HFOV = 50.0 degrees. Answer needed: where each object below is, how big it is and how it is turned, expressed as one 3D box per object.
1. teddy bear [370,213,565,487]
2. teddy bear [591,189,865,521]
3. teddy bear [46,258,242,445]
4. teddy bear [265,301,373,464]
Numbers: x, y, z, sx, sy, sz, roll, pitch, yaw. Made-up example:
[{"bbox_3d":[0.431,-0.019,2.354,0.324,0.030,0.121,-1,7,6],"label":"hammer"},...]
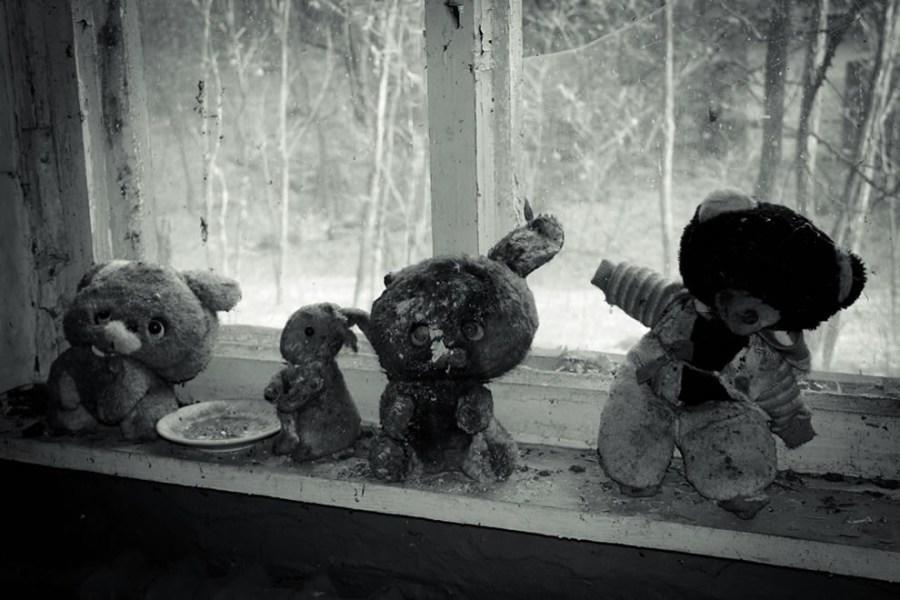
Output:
[{"bbox_3d":[0.030,0.104,2.139,0.449,0.566,0.235,-1,15,-7],"label":"teddy bear"},{"bbox_3d":[0.537,0.099,2.018,0.516,0.615,0.373,22,35,18],"label":"teddy bear"},{"bbox_3d":[-0.775,0.135,2.375,0.452,0.439,0.268,10,2,5],"label":"teddy bear"},{"bbox_3d":[-0.329,0.187,2.291,0.237,0.357,0.228,-1,5,-15],"label":"teddy bear"}]
